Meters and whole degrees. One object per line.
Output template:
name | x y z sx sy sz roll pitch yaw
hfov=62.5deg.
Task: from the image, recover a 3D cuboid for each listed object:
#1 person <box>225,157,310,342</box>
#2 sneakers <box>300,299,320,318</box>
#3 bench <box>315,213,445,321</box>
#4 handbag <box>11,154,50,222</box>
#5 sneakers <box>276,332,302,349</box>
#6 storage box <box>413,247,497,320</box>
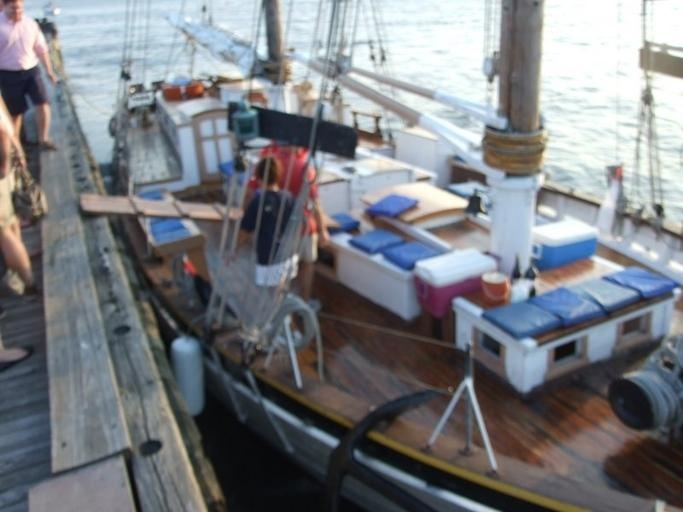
person | -0.604 -0.201 4.478 0.516 1.410 1.048 -6 26 -11
sneakers | -0.348 0.556 6.029 0.215 0.069 0.150 19 5 -33
bench | 0.597 0.123 6.063 0.793 0.640 1.350 -24 37 -29
handbag | -3.235 -0.629 5.791 0.299 0.780 0.459 -15 29 -27
sneakers | -0.443 0.724 4.786 0.166 0.061 0.125 -5 14 -28
storage box | 1.171 0.185 5.551 0.800 0.532 0.510 -19 30 -26
